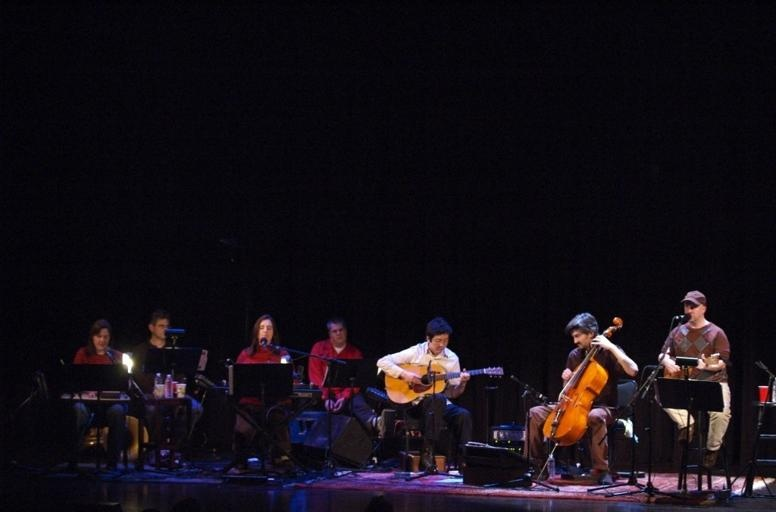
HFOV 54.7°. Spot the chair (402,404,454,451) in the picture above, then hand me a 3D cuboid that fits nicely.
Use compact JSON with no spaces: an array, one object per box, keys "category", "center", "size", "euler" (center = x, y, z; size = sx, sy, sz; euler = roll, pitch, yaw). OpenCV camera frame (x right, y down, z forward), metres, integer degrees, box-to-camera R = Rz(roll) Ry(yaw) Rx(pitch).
[{"category":"chair","center":[0.603,2.254,10.094],"size":[0.620,0.725,0.631],"euler":[13,-16,-38]}]

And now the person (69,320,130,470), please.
[{"category":"person","center":[-3.920,1.893,10.152],"size":[0.682,1.991,1.064],"euler":[3,-3,-21]}]

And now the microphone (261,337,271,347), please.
[{"category":"microphone","center":[-1.600,1.099,9.702],"size":[0.103,0.061,0.145],"euler":[0,-2,-18]}]

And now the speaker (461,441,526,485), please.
[{"category":"speaker","center":[1.254,2.590,9.434],"size":[0.853,0.440,0.743],"euler":[4,-4,-10]}]

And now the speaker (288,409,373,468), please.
[{"category":"speaker","center":[-0.853,2.388,10.125],"size":[0.789,0.575,0.691],"euler":[7,2,28]}]

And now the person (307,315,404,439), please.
[{"category":"person","center":[-0.646,1.710,10.475],"size":[0.907,2.042,0.780],"euler":[4,-7,-29]}]

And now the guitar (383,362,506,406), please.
[{"category":"guitar","center":[0.719,1.687,10.037],"size":[1.493,0.646,0.216],"euler":[-4,-19,4]}]

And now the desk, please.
[{"category":"desk","center":[-3.035,2.299,10.196],"size":[0.626,1.055,0.595],"euler":[1,1,-6]}]

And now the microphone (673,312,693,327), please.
[{"category":"microphone","center":[3.813,0.815,9.684],"size":[0.163,0.161,0.581],"euler":[3,5,34]}]

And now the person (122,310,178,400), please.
[{"category":"person","center":[-3.280,1.391,10.344],"size":[0.879,1.392,0.687],"euler":[8,-15,-40]}]

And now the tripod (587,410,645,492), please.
[{"category":"tripod","center":[2.777,2.291,9.568],"size":[1.031,1.176,1.031],"euler":[-1,-3,18]}]

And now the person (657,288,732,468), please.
[{"category":"person","center":[3.919,1.297,9.540],"size":[0.904,2.745,0.905],"euler":[2,1,3]}]

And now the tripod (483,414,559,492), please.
[{"category":"tripod","center":[1.594,2.477,9.361],"size":[0.719,0.739,0.841],"euler":[2,-13,7]}]

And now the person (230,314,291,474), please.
[{"category":"person","center":[-1.640,1.849,9.820],"size":[0.753,2.172,0.745],"euler":[1,0,-20]}]

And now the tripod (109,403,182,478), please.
[{"category":"tripod","center":[-3.244,2.346,10.143],"size":[0.827,1.051,0.837],"euler":[5,-4,-29]}]

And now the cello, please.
[{"category":"cello","center":[2.439,1.508,9.323],"size":[0.369,1.739,0.669],"euler":[31,-16,-8]}]

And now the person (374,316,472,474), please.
[{"category":"person","center":[0.493,1.828,10.400],"size":[1.075,2.096,0.887],"euler":[3,-2,-16]}]

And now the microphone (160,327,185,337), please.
[{"category":"microphone","center":[-2.878,1.009,10.025],"size":[0.196,0.085,0.214],"euler":[1,-4,4]}]
